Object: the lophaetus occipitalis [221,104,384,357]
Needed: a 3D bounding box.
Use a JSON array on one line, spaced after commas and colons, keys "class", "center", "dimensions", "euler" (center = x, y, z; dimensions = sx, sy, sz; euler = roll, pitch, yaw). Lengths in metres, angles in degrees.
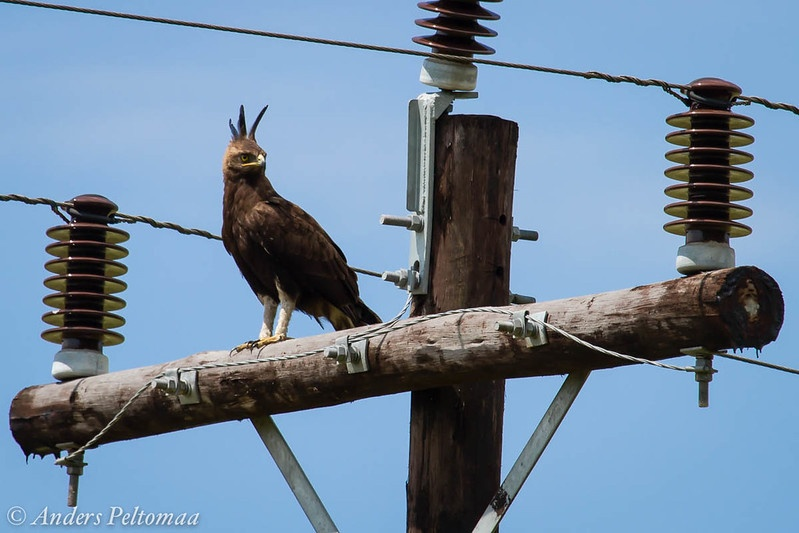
[{"class": "lophaetus occipitalis", "center": [-0.750, -0.253, 18.009], "dimensions": [1.487, 1.845, 0.734], "euler": [7, -7, -34]}]
